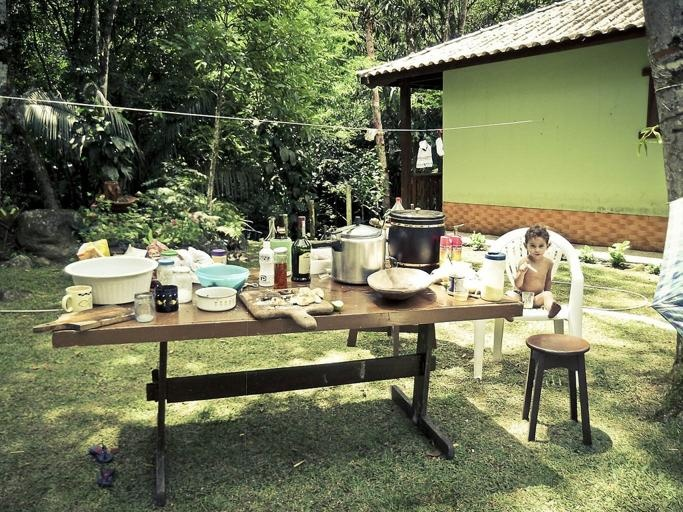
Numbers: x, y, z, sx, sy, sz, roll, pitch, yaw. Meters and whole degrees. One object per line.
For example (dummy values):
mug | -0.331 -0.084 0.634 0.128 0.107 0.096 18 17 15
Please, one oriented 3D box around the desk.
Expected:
desk | -0.396 1.008 4.035 2.986 1.124 1.311 -2 7 -17

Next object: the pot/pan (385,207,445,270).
pot/pan | 0.573 -0.114 4.376 0.457 0.433 0.450 -9 16 -42

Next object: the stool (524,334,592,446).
stool | 1.671 0.999 4.269 0.491 0.764 0.569 1 8 1

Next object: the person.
person | 1.712 0.111 4.930 0.537 0.895 0.492 5 14 11

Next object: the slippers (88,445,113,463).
slippers | -1.704 1.379 3.916 0.116 0.048 0.157 1 8 -27

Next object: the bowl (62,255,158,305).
bowl | -1.532 0.140 3.659 0.414 0.145 0.421 2 12 0

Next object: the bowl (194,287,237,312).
bowl | -0.825 0.277 3.611 0.278 0.139 0.237 -3 8 -14

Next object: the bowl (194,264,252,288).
bowl | -0.844 0.152 3.877 0.394 0.158 0.309 5 9 37

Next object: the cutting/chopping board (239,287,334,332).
cutting/chopping board | -0.354 0.261 3.631 0.646 0.249 0.593 -2 11 -29

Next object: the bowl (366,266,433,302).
bowl | 0.410 0.199 3.841 0.461 0.197 0.318 -3 8 -17
